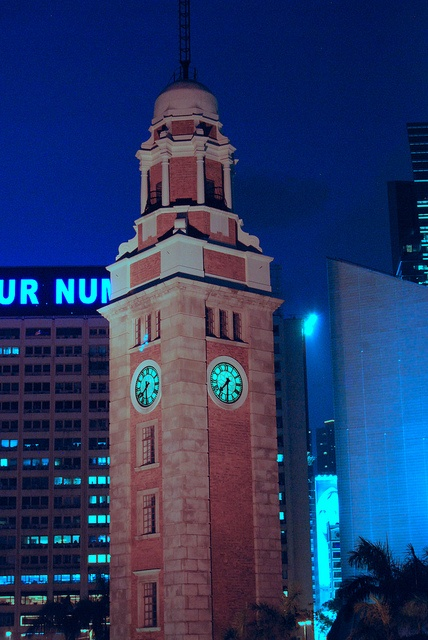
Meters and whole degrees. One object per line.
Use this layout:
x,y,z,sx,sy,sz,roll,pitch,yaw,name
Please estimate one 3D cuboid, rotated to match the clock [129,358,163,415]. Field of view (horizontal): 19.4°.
-3.479,3.543,67.746,0.122,2.332,2.286,6,-2,30,clock
